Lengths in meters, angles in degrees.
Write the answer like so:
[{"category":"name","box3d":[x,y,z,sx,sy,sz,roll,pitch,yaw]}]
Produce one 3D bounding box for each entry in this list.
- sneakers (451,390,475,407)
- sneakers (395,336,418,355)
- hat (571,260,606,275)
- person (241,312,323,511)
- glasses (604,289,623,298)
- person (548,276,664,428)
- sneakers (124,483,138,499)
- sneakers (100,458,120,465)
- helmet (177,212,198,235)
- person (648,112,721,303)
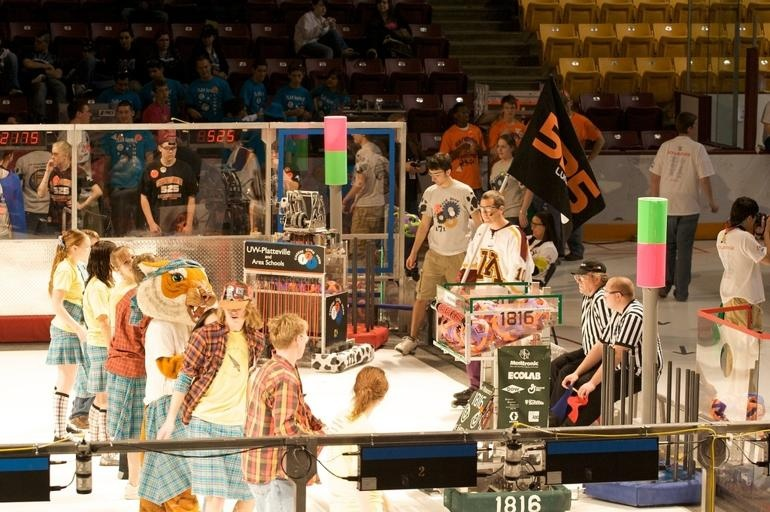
[{"category":"sneakers","box3d":[0.851,1.566,12.388,0.185,0.136,0.284,-1,-10,0]},{"category":"sneakers","box3d":[0.267,1.110,14.090,0.141,0.140,0.332,35,14,18]},{"category":"hat","box3d":[2.118,0.099,11.509,0.256,0.094,0.178,0,2,-6]},{"category":"person","box3d":[-0.863,1.300,9.253,0.641,1.663,0.510,0,-3,-9]},{"category":"glasses","box3d":[2.238,0.342,11.094,0.189,0.075,0.076,-3,-4,40]},{"category":"person","box3d":[2.144,0.931,11.016,1.077,1.483,0.895,-1,-3,11]},{"category":"sneakers","box3d":[-2.404,2.236,10.598,0.185,0.113,0.084,1,4,-14]},{"category":"sneakers","box3d":[-2.776,2.067,11.317,0.165,0.101,0.085,-1,8,-9]},{"category":"helmet","box3d":[-2.606,-0.456,14.556,0.202,0.266,0.104,2,9,-6]},{"category":"person","box3d":[4.162,-0.711,15.783,0.865,2.652,0.681,-2,-3,28]}]
